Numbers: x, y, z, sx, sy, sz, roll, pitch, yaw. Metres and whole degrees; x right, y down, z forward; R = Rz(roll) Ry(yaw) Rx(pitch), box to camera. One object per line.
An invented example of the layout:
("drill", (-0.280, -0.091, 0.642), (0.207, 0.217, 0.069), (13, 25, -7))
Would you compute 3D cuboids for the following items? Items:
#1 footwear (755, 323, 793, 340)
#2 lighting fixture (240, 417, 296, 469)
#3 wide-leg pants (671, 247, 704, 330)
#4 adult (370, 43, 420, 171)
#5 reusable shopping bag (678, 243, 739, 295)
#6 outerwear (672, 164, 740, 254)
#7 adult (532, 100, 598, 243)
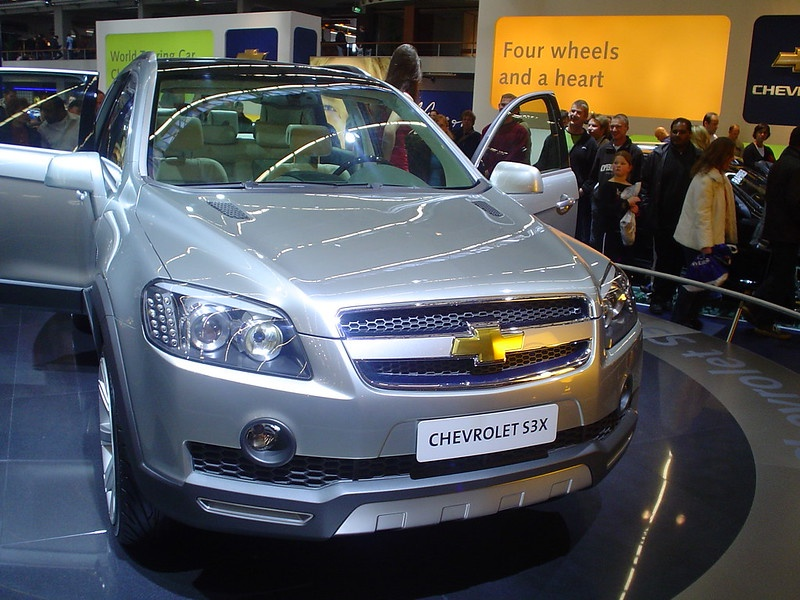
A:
("footwear", (3.121, 0.259, 4.748), (0.322, 0.142, 0.118), (-1, 15, 7))
("lighting fixture", (-0.388, 0.410, 1.639), (0.147, 0.050, 0.156), (9, 28, -14))
("wide-leg pants", (2.597, -0.088, 5.071), (0.264, 0.859, 0.227), (10, 54, 27))
("adult", (0.010, -1.708, 5.380), (0.432, 1.448, 0.384), (0, 57, -3))
("reusable shopping bag", (2.867, -0.359, 5.234), (0.374, 0.498, 0.277), (-12, 35, -14))
("outerwear", (2.854, -0.848, 5.380), (0.585, 0.846, 0.897), (4, 14, 33))
("adult", (1.997, -1.312, 6.818), (0.795, 2.056, 0.570), (13, 40, 25))
